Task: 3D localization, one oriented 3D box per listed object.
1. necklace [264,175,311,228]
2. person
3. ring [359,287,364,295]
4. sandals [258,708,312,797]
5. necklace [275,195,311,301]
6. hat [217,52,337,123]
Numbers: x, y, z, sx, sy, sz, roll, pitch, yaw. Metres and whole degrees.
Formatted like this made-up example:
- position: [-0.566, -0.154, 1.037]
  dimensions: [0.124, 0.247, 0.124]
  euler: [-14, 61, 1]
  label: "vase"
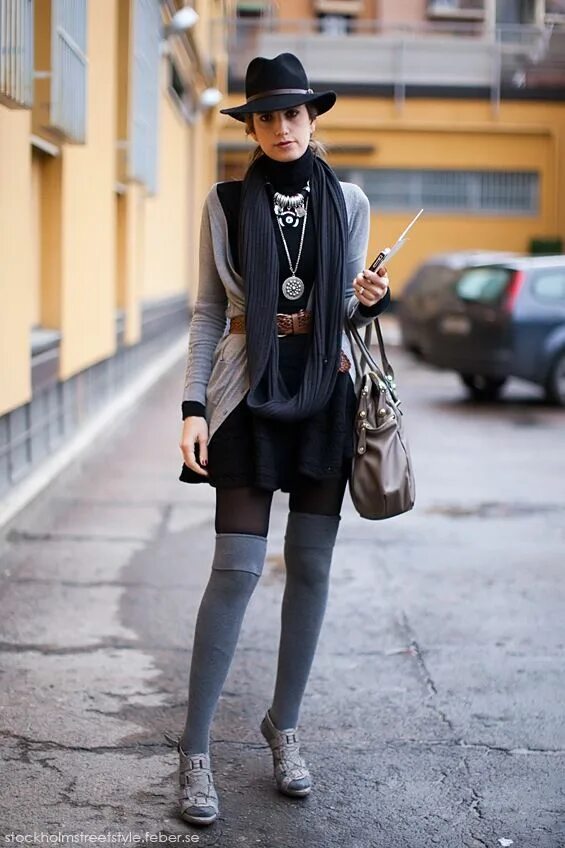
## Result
- position: [0.024, -0.444, 1.790]
  dimensions: [0.084, 0.038, 0.083]
  euler: [0, 49, -6]
  label: "necklace"
- position: [0.001, 0.019, 1.818]
  dimensions: [0.411, 1.507, 0.464]
  euler: [1, 8, -7]
  label: "person"
- position: [0.155, -0.265, 1.757]
  dimensions: [0.002, 0.008, 0.009]
  euler: [7, -10, -40]
  label: "ring"
- position: [0.014, 0.701, 1.902]
  dimensions: [0.058, 0.065, 0.165]
  euler: [-1, 39, -26]
  label: "sandals"
- position: [0.018, -0.364, 1.789]
  dimensions: [0.073, 0.230, 0.067]
  euler: [0, 8, -12]
  label: "necklace"
- position: [-0.010, -0.658, 1.785]
  dimensions: [0.160, 0.076, 0.178]
  euler: [-16, 9, -2]
  label: "hat"
